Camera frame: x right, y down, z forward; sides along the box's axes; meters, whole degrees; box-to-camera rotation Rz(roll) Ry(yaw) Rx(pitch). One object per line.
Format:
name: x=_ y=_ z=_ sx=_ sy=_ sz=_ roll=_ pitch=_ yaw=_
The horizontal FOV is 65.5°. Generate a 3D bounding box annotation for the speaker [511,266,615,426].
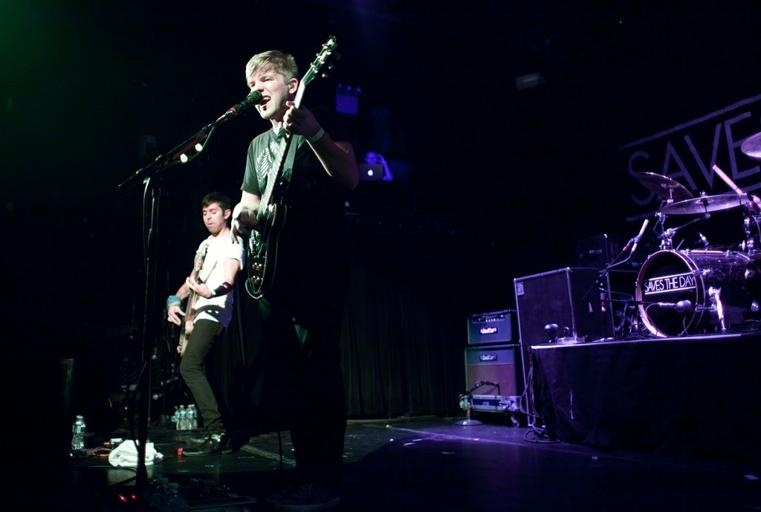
speaker: x=2.063 y=0.961 z=6.810 sx=1.105 sy=1.650 sz=0.543 roll=-1 pitch=-4 yaw=21

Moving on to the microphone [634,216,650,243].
microphone: x=3.253 y=-0.328 z=7.363 sx=0.092 sy=0.382 sz=0.138 roll=31 pitch=-34 yaw=9

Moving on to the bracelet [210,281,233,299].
bracelet: x=-1.533 y=0.323 z=5.717 sx=0.122 sy=0.050 sz=0.165 roll=-21 pitch=-6 yaw=40

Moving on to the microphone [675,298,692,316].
microphone: x=2.888 y=0.479 z=5.660 sx=0.129 sy=0.130 sz=0.127 roll=2 pitch=-9 yaw=-36

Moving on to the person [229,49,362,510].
person: x=-0.585 y=0.138 z=4.123 sx=0.812 sy=3.208 sz=0.640 roll=0 pitch=-4 yaw=2

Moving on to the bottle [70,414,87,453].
bottle: x=-2.937 y=1.714 z=5.753 sx=0.127 sy=0.317 sz=0.374 roll=2 pitch=-4 yaw=-27
